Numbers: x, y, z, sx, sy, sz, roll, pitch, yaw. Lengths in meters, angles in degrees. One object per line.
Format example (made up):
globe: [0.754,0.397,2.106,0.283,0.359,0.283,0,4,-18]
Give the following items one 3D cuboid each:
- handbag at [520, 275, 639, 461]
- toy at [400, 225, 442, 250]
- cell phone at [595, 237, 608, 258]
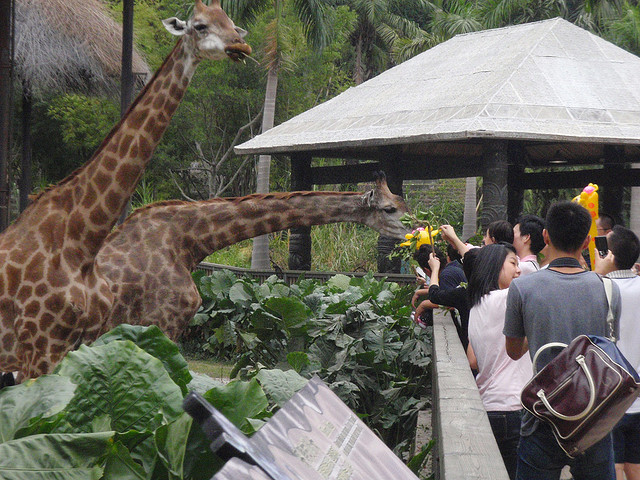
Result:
handbag: [1.698,1.029,5.182,0.731,0.790,0.199,1,2,11]
toy: [1.050,-0.021,8.091,0.229,0.110,0.249,-30,13,9]
cell phone: [2.416,0.065,6.803,0.085,0.193,0.097,-14,13,8]
